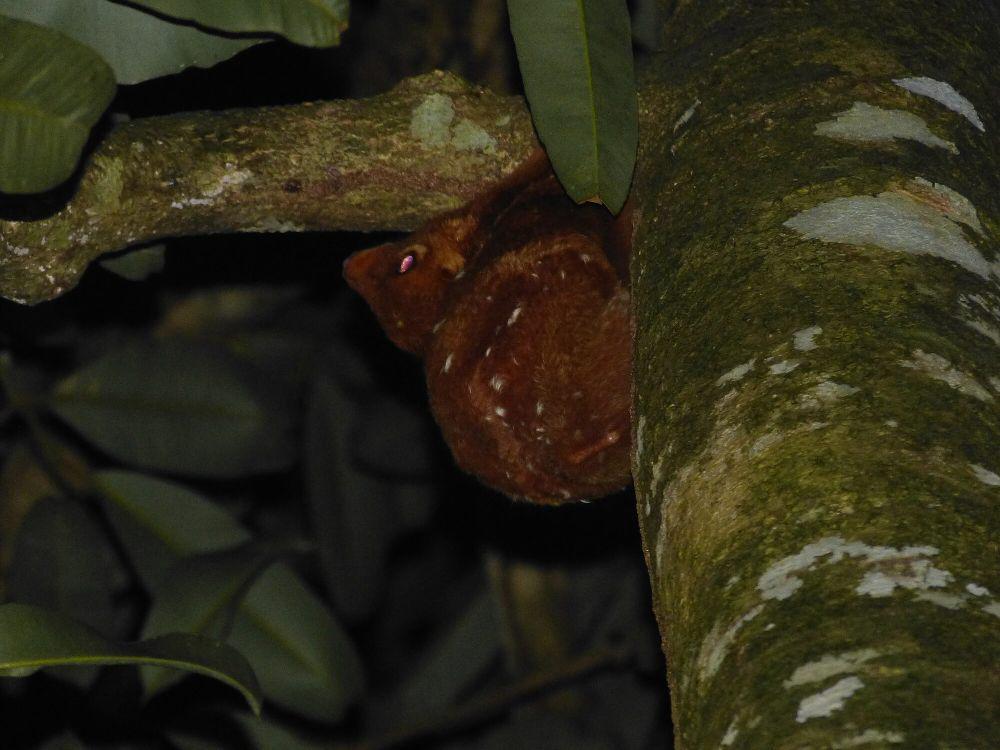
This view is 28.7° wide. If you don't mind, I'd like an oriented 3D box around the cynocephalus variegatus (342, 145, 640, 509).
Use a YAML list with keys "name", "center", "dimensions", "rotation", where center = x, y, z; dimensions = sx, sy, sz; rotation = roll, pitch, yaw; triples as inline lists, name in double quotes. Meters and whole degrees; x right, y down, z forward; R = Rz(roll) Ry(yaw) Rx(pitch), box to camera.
- name: "cynocephalus variegatus"
  center: [0.047, -0.068, 3.551]
  dimensions: [0.212, 0.548, 0.627]
  rotation: [-9, 49, -46]
